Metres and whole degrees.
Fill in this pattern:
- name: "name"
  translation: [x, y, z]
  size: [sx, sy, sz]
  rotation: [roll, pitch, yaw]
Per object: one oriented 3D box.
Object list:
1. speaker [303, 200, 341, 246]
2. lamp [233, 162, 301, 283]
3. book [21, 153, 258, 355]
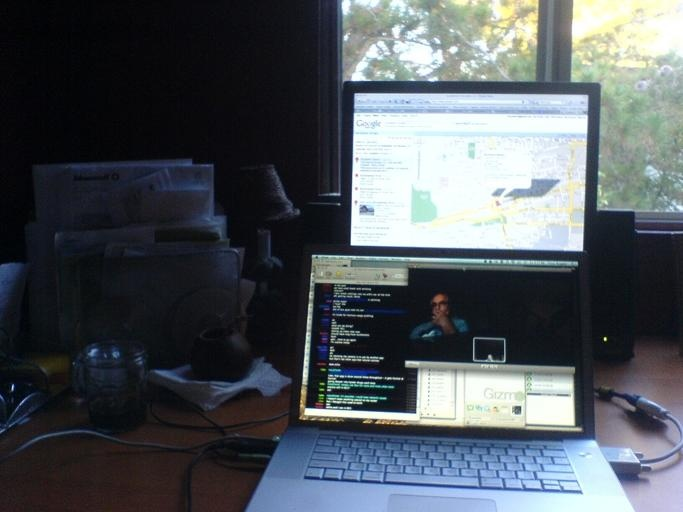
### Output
- name: "speaker"
  translation: [-0.053, -0.089, 1.690]
  size: [0.103, 0.100, 0.055]
  rotation: [1, 8, 13]
- name: "lamp"
  translation: [-0.229, -0.077, 1.807]
  size: [0.228, 0.359, 0.218]
  rotation: [-4, 0, 13]
- name: "book"
  translation: [-0.564, -0.011, 1.605]
  size: [0.498, 0.499, 0.176]
  rotation: [-1, -3, 1]
